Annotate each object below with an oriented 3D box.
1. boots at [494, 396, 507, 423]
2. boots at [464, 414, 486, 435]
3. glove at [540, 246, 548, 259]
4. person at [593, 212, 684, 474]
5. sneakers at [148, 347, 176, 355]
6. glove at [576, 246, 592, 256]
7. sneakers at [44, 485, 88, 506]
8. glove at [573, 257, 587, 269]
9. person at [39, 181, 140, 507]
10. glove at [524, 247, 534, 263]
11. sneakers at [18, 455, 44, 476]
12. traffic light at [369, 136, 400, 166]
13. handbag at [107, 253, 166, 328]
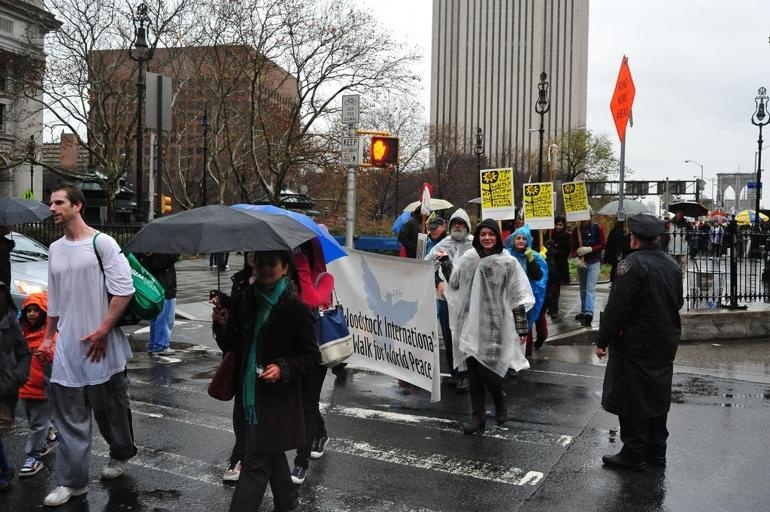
[{"bbox_3d":[1.646,2.165,11.627,0.164,0.372,0.282,2,10,8],"label":"boots"},{"bbox_3d":[1.268,2.309,11.423,0.381,0.235,0.201,-3,10,-17],"label":"boots"},{"bbox_3d":[3.106,-0.065,16.102,0.110,0.287,0.205,4,6,17],"label":"glove"},{"bbox_3d":[3.266,1.092,10.536,1.132,3.095,0.800,-6,11,-31],"label":"person"},{"bbox_3d":[-4.071,1.768,15.146,0.455,0.195,0.181,0,3,-10],"label":"sneakers"},{"bbox_3d":[4.270,-0.090,17.569,0.319,0.222,0.204,0,10,1],"label":"glove"},{"bbox_3d":[-3.717,2.784,9.696,0.200,0.210,0.466,1,-1,45],"label":"sneakers"},{"bbox_3d":[4.161,0.174,17.551,0.100,0.256,0.189,-30,14,19],"label":"glove"},{"bbox_3d":[-3.503,1.014,9.757,1.070,3.621,0.873,-3,10,-17],"label":"person"},{"bbox_3d":[2.412,-0.015,13.694,0.160,0.203,0.198,-4,1,11],"label":"glove"},{"bbox_3d":[-4.360,2.605,10.195,0.134,0.162,0.346,0,-11,5],"label":"sneakers"},{"bbox_3d":[0.010,-2.291,18.020,0.604,0.632,0.411,0,10,-3],"label":"traffic light"},{"bbox_3d":[-2.803,0.433,9.901,0.786,0.761,0.548,-20,9,-22],"label":"handbag"}]
